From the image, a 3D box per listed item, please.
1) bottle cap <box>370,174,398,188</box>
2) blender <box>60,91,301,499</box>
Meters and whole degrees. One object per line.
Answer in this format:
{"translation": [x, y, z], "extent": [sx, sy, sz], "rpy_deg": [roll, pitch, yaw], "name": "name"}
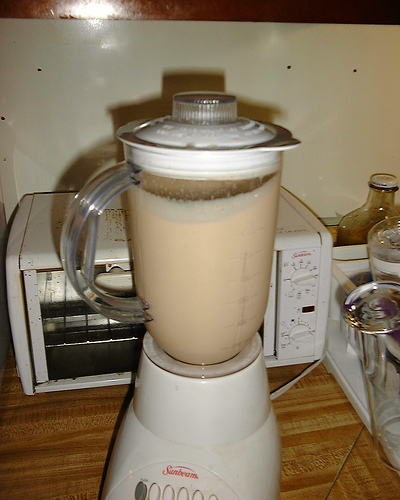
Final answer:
{"translation": [0.329, -0.123, 0.783], "extent": [0.047, 0.014, 0.066], "rpy_deg": [14, 25, 36], "name": "bottle cap"}
{"translation": [-0.016, 0.086, 0.431], "extent": [0.202, 0.451, 0.155], "rpy_deg": [3, 21, 11], "name": "blender"}
